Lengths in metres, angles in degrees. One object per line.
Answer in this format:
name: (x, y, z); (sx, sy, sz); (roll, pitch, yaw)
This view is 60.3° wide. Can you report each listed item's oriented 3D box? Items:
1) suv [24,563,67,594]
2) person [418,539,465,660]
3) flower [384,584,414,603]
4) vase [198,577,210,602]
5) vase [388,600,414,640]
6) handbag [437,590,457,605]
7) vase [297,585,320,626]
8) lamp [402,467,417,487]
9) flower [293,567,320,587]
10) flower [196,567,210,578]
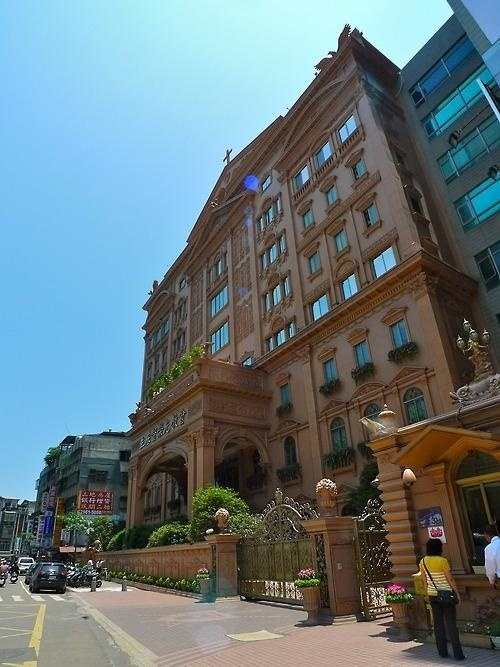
suv: (-9.440, 11.441, 20.189); (1.821, 1.330, 1.143); (-23, -31, 34)
person: (2.510, 3.484, 5.668); (0.377, 1.411, 0.703); (-11, -26, 14)
flower: (2.598, 4.581, 7.594); (0.385, 0.293, 0.375); (-11, -31, 13)
vase: (-1.609, 9.096, 15.392); (0.253, 0.705, 0.602); (15, -31, -34)
vase: (2.692, 5.055, 7.651); (0.352, 0.574, 0.698); (-10, -26, 11)
handbag: (2.476, 3.309, 5.411); (0.217, 0.197, 0.101); (1, -42, 10)
vase: (1.422, 6.326, 10.112); (0.425, 0.732, 0.787); (-6, -25, 4)
lamp: (3.067, 2.772, 8.344); (0.269, 0.319, 0.459); (-12, -26, 16)
flower: (1.363, 5.865, 10.297); (0.552, 0.378, 0.605); (-5, -25, 3)
flower: (-1.698, 8.760, 15.723); (0.443, 0.354, 0.436); (9, -29, -28)
